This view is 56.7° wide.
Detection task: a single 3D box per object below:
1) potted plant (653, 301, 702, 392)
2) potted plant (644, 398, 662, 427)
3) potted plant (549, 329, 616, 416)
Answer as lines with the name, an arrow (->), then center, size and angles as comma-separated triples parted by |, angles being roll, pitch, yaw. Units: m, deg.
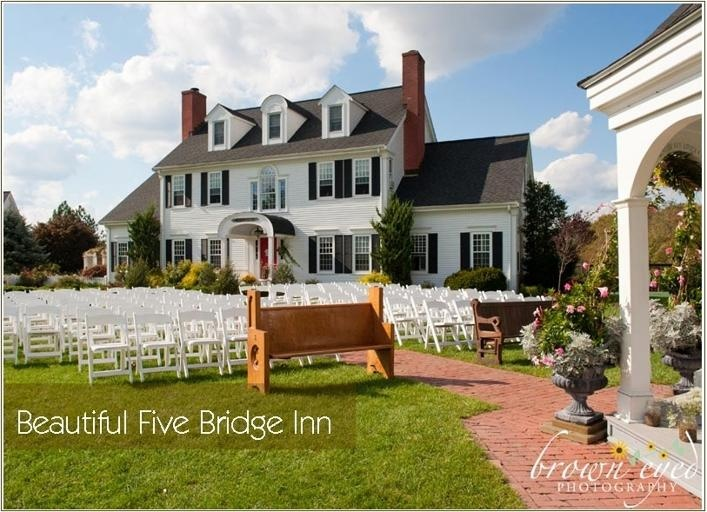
potted plant -> 5.304, 1.495, 10.792 | 0.794, 1.468, 0.548 | 5, 11, 26
potted plant -> 4.457, 2.285, 9.635 | 0.387, 0.315, 0.231 | -8, 12, -37
potted plant -> 3.499, 1.840, 10.136 | 0.923, 1.420, 0.859 | 0, -2, -26
